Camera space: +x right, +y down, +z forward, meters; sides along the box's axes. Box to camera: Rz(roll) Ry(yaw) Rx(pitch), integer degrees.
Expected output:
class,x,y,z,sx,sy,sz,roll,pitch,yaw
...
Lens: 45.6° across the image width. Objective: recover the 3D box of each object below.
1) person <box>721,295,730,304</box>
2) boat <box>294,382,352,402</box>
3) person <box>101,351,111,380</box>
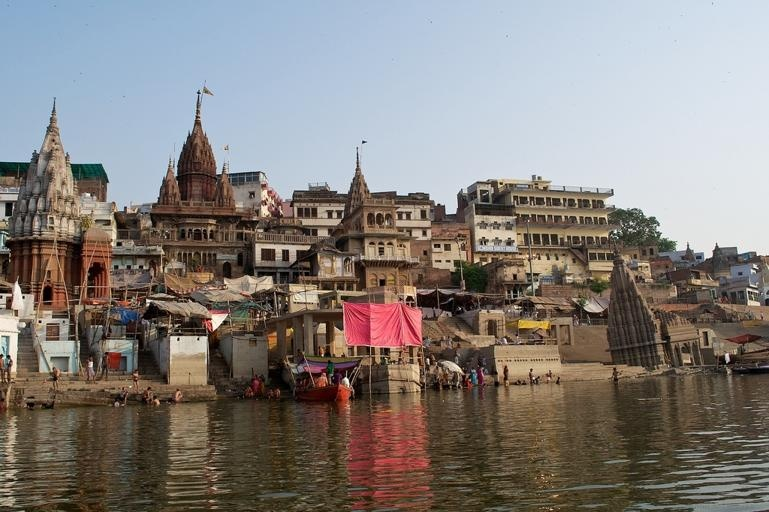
class,x,y,z,sx,sy,sz,roll,pitch,yaw
person,36.214,4.675,97.750,0.665,0.691,1.273,3,-5,12
boat,-3.098,6.726,44.256,1.917,0.494,1.111,-8,-18,24
person,-14.607,5.730,47.932,0.412,1.404,2.149,0,-11,-17
